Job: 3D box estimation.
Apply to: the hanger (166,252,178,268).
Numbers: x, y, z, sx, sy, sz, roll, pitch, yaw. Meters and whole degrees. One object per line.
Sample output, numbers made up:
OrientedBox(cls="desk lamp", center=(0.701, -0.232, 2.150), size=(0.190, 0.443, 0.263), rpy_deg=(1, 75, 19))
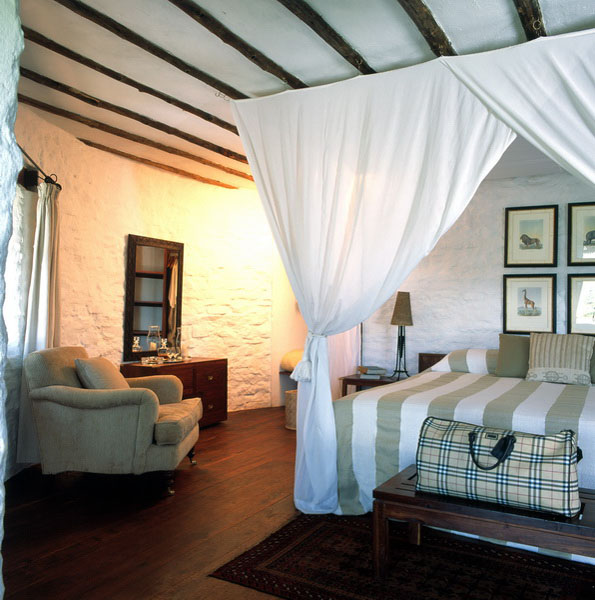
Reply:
OrientedBox(cls="hanger", center=(-1.400, -0.448, 5.309), size=(0.123, 0.249, 0.129), rpy_deg=(0, -11, -12))

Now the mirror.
OrientedBox(cls="mirror", center=(-1.546, -0.008, 5.107), size=(0.144, 1.290, 0.716), rpy_deg=(0, -2, 28))

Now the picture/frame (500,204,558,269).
OrientedBox(cls="picture/frame", center=(2.387, -0.648, 4.864), size=(0.618, 0.905, 0.092), rpy_deg=(0, -2, 25))

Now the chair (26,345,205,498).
OrientedBox(cls="chair", center=(-1.237, 0.795, 3.465), size=(0.987, 0.887, 0.932), rpy_deg=(0, -3, 1))

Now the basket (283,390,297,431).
OrientedBox(cls="basket", center=(-0.087, 1.152, 4.972), size=(0.072, 0.400, 0.281), rpy_deg=(1, -2, -19))

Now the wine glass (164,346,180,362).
OrientedBox(cls="wine glass", center=(-1.299, 0.572, 4.933), size=(0.132, 0.167, 0.116), rpy_deg=(-1, -2, 0))

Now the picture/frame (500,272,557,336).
OrientedBox(cls="picture/frame", center=(2.355, 0.048, 4.814), size=(0.585, 0.877, 0.059), rpy_deg=(-1, -5, 28))

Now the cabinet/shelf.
OrientedBox(cls="cabinet/shelf", center=(-1.224, 0.989, 4.984), size=(0.472, 0.666, 0.906), rpy_deg=(0, 0, 37))
